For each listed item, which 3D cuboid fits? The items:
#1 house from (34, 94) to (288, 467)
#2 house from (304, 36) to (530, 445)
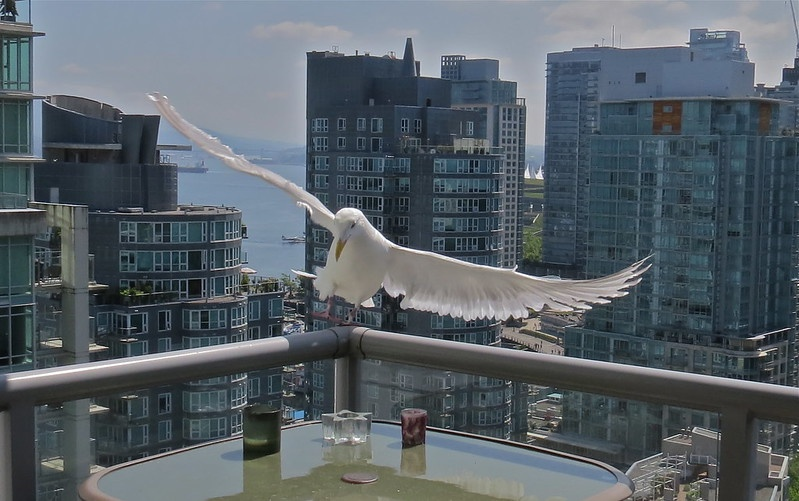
[{"bbox_3d":[-18.692,3.413,128.030,24.486,27.789,14.510,-1,6,-32],"label":"house"},{"bbox_3d":[0.087,-4.744,146.299,17.396,27.204,13.468,-1,-5,26],"label":"house"}]
